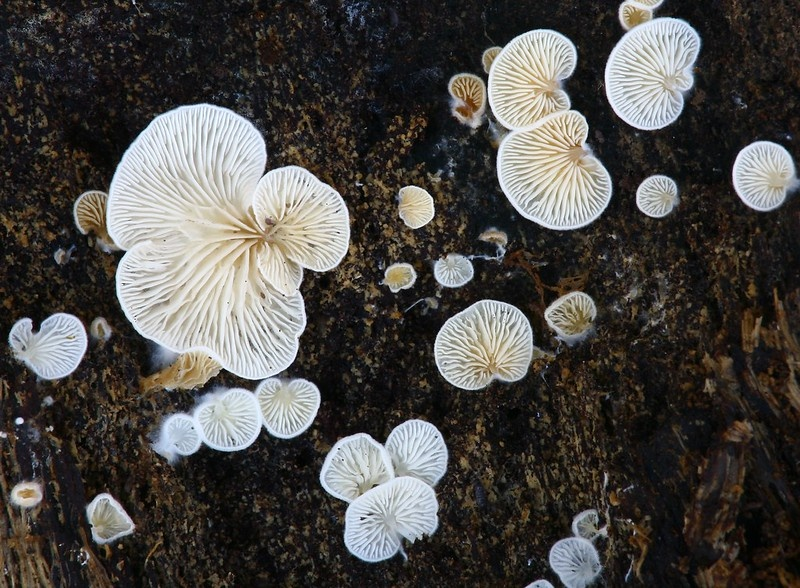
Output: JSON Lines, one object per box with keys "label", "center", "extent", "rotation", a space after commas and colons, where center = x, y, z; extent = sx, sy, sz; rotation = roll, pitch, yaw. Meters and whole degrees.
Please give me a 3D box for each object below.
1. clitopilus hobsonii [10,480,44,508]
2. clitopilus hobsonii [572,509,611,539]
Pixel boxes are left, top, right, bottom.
{"label": "clitopilus hobsonii", "center": [-5.311, 2.852, 17.611], "extent": [0.450, 0.047, 0.370], "rotation": [-2, 85, -3]}
{"label": "clitopilus hobsonii", "center": [2.805, 3.378, 18.163], "extent": [0.515, 0.080, 0.450], "rotation": [-1, 85, -3]}
